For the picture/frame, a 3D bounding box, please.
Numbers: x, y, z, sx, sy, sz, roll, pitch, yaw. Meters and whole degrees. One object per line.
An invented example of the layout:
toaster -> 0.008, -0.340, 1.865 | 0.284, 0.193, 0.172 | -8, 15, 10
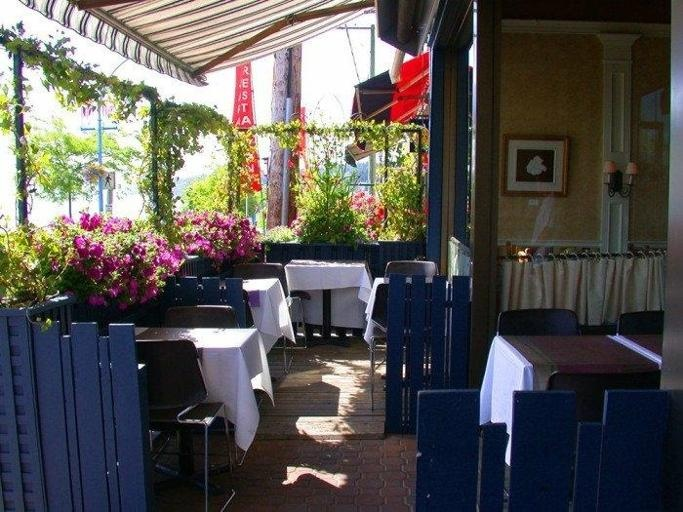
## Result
picture/frame -> 2.047, -1.014, 6.941 | 0.565, 0.588, 0.047 | -1, 8, -5

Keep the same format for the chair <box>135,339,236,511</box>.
chair -> -0.950, 1.028, 4.002 | 0.530, 1.115, 0.607 | -1, 9, -3

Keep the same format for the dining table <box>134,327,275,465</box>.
dining table -> -0.798, 0.781, 4.436 | 0.872, 0.583, 0.807 | -1, -2, 8

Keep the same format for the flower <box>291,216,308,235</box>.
flower -> -0.558, -0.383, 8.660 | 0.263, 0.228, 0.249 | -4, 20, -4

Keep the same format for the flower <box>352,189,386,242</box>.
flower -> 0.390, -0.602, 9.098 | 0.534, 0.701, 0.367 | -8, 10, -11

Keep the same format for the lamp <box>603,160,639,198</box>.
lamp -> 3.048, -0.850, 7.116 | 0.339, 0.390, 0.188 | 6, 2, 11

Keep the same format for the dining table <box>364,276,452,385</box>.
dining table -> 0.488, 0.450, 5.468 | 0.482, 0.872, 1.475 | -2, 10, -7
